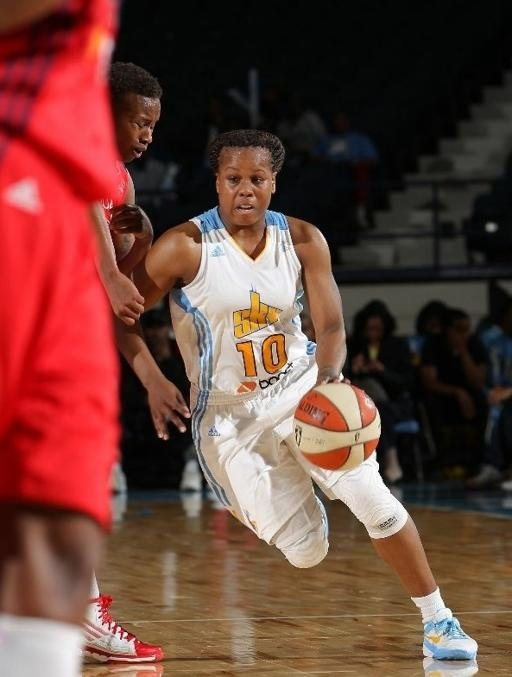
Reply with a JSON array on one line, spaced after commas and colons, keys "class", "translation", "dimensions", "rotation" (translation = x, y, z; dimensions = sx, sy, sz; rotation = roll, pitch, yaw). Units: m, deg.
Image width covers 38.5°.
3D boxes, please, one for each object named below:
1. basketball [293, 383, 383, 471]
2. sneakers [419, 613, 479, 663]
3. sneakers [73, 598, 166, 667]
[{"class": "basketball", "translation": [0.279, 0.289, 2.589], "dimensions": [0.336, 0.320, 0.310], "rotation": [-1, 4, 7]}, {"class": "sneakers", "translation": [0.689, 1.088, 2.629], "dimensions": [0.126, 0.115, 0.209], "rotation": [6, -16, -23]}, {"class": "sneakers", "translation": [-0.446, 1.090, 2.715], "dimensions": [0.493, 0.265, 0.147], "rotation": [4, -3, -5]}]
